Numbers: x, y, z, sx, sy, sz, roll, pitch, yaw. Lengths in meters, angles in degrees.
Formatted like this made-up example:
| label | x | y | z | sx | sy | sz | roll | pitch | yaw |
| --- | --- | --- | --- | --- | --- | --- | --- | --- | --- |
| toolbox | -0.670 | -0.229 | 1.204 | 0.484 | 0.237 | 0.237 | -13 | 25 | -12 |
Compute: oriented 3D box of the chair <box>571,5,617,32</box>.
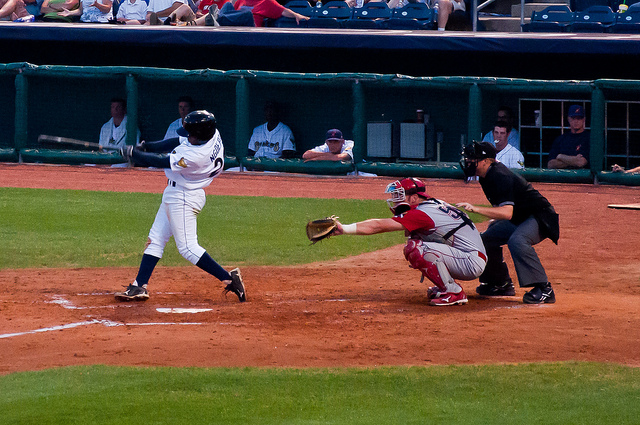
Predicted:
| label | x | y | z | sx | sy | sz | roll | pitch | yaw |
| --- | --- | --- | --- | --- | --- | --- | --- | --- | --- |
| chair | 5.714 | -4.069 | 22.107 | 0.981 | 0.509 | 0.818 | 3 | 10 | 19 |

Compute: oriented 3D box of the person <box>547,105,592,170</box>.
| label | x | y | z | sx | sy | sz | roll | pitch | yaw |
| --- | --- | --- | --- | --- | --- | --- | --- | --- | --- |
| person | 4.709 | -1.411 | 19.809 | 0.767 | 1.160 | 0.511 | 4 | 1 | 11 |

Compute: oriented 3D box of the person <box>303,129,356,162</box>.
| label | x | y | z | sx | sy | sz | roll | pitch | yaw |
| --- | --- | --- | --- | --- | --- | --- | --- | --- | --- |
| person | 0.253 | -1.350 | 21.195 | 0.737 | 0.344 | 0.871 | -1 | 2 | 15 |

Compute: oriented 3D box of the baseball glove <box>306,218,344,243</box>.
| label | x | y | z | sx | sy | sz | roll | pitch | yaw |
| --- | --- | --- | --- | --- | --- | --- | --- | --- | --- |
| baseball glove | 0.069 | 0.214 | 12.707 | 0.440 | 0.260 | 0.297 | 3 | 1 | 1 |

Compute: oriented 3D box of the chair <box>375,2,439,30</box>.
| label | x | y | z | sx | sy | sz | roll | pitch | yaw |
| --- | --- | --- | --- | --- | --- | --- | --- | --- | --- |
| chair | 1.973 | -4.309 | 23.165 | 1.070 | 0.534 | 0.967 | 2 | 6 | 29 |

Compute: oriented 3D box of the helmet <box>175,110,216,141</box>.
| label | x | y | z | sx | sy | sz | roll | pitch | yaw |
| --- | --- | --- | --- | --- | --- | --- | --- | --- | --- |
| helmet | -1.550 | -1.130 | 13.219 | 0.516 | 0.339 | 0.664 | 0 | -12 | -16 |

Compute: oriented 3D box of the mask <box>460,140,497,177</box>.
| label | x | y | z | sx | sy | sz | roll | pitch | yaw |
| --- | --- | --- | --- | --- | --- | --- | --- | --- | --- |
| mask | 1.935 | -0.697 | 13.231 | 0.545 | 0.432 | 0.384 | 5 | 7 | 4 |

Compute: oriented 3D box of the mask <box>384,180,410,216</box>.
| label | x | y | z | sx | sy | sz | roll | pitch | yaw |
| --- | --- | --- | --- | --- | --- | --- | --- | --- | --- |
| mask | 0.966 | -0.174 | 13.036 | 0.293 | 0.397 | 0.213 | 4 | 1 | 2 |

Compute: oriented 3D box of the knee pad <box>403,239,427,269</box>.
| label | x | y | z | sx | sy | sz | roll | pitch | yaw |
| --- | --- | --- | --- | --- | --- | --- | --- | --- | --- |
| knee pad | 1.184 | 0.507 | 13.051 | 0.273 | 0.335 | 0.174 | 4 | 1 | -2 |

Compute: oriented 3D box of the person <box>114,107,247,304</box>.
| label | x | y | z | sx | sy | sz | roll | pitch | yaw |
| --- | --- | --- | --- | --- | --- | --- | --- | --- | --- |
| person | -1.687 | -0.073 | 13.138 | 1.549 | 2.061 | 0.511 | 4 | 1 | -8 |
